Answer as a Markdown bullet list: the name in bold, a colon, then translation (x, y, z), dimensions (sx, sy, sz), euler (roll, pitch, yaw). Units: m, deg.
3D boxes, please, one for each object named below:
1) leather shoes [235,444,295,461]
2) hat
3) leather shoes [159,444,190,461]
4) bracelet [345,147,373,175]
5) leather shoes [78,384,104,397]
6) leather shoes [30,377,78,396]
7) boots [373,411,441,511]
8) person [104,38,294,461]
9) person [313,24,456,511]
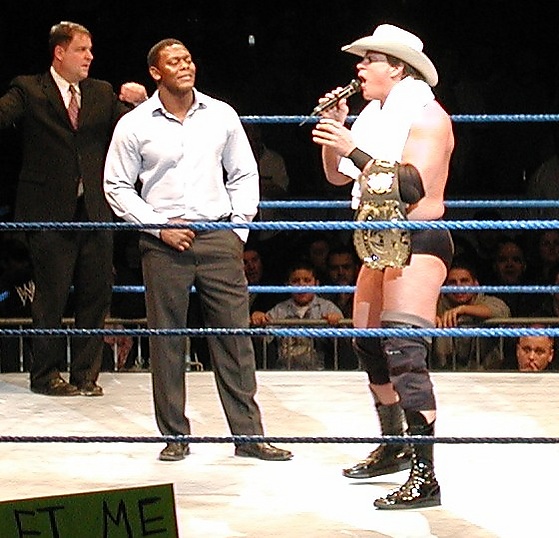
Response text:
- **leather shoes**: translation (-0.053, 0.579, 2.627), dimensions (0.197, 0.047, 0.059), euler (0, 0, 12)
- **hat**: translation (0.350, -0.663, 2.502), dimensions (0.254, 0.074, 0.231), euler (15, -5, 0)
- **leather shoes**: translation (-0.335, 0.572, 2.631), dimensions (0.089, 0.046, 0.113), euler (0, 5, 1)
- **bracelet**: translation (0.220, -0.303, 2.294), dimensions (0.067, 0.069, 0.055), euler (0, 7, 3)
- **leather shoes**: translation (-0.785, 0.505, 3.459), dimensions (0.139, 0.037, 0.042), euler (2, 6, 19)
- **leather shoes**: translation (-0.938, 0.496, 3.474), dimensions (0.197, 0.050, 0.075), euler (-2, -1, 8)
- **boots**: translation (0.340, 0.515, 2.209), dimensions (0.166, 0.237, 0.280), euler (1, 6, 15)
- **person**: translation (-0.276, -0.083, 2.678), dimensions (0.548, 1.355, 0.469), euler (-2, 7, -10)
- **person**: translation (0.293, -0.055, 2.362), dimensions (0.398, 1.361, 0.648), euler (0, 7, 7)
